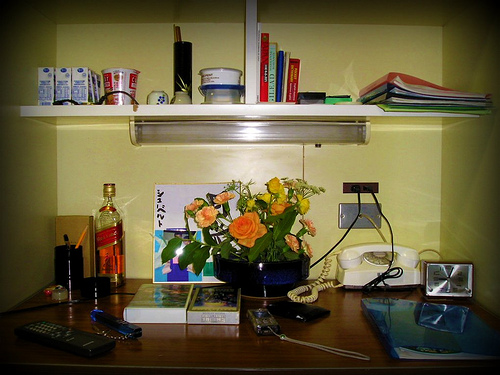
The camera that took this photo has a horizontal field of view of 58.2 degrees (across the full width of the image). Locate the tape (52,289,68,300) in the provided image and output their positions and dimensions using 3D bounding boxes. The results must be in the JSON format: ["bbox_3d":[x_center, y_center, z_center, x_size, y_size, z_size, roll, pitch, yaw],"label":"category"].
[{"bbox_3d":[-0.690,0.388,1.631,0.039,0.022,0.039,4,0,39],"label":"tape"}]

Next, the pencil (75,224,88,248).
[{"bbox_3d":[-0.659,0.186,1.775,0.015,0.113,0.014,22,-36,-9],"label":"pencil"}]

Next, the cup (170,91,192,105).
[{"bbox_3d":[-0.252,-0.335,1.675,0.064,0.059,0.064,2,11,0],"label":"cup"}]

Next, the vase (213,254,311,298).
[{"bbox_3d":[0.055,0.329,1.731,0.351,0.129,0.354,6,1,39],"label":"vase"}]

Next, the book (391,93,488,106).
[{"bbox_3d":[0.657,-0.306,1.561,0.334,0.046,0.034,-1,9,-2],"label":"book"}]

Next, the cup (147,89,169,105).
[{"bbox_3d":[-0.342,-0.333,1.684,0.065,0.060,0.063,0,8,0],"label":"cup"}]

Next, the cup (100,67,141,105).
[{"bbox_3d":[-0.479,-0.389,1.737,0.139,0.129,0.138,2,7,0],"label":"cup"}]

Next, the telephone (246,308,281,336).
[{"bbox_3d":[0.043,0.436,1.465,0.077,0.042,0.147,2,7,-16],"label":"telephone"}]

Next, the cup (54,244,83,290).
[{"bbox_3d":[-0.700,0.305,1.745,0.103,0.162,0.099,0,9,0],"label":"cup"}]

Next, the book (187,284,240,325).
[{"bbox_3d":[-0.116,0.408,1.571,0.192,0.047,0.262,0,6,-5],"label":"book"}]

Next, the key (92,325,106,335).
[{"bbox_3d":[-0.481,0.450,1.424,0.024,0.006,0.023,20,3,0],"label":"key"}]

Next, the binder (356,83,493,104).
[{"bbox_3d":[0.619,-0.339,1.609,0.449,0.066,0.159,2,9,12],"label":"binder"}]

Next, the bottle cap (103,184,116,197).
[{"bbox_3d":[-0.554,0.010,1.775,0.046,0.042,0.045,1,8,-6],"label":"bottle cap"}]

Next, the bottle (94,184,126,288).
[{"bbox_3d":[-0.543,0.191,1.842,0.133,0.408,0.121,0,-3,0],"label":"bottle"}]

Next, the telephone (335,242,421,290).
[{"bbox_3d":[0.506,0.298,1.774,0.315,0.153,0.183,-1,17,7],"label":"telephone"}]

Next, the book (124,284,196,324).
[{"bbox_3d":[-0.311,0.414,1.608,0.209,0.056,0.294,2,1,-2],"label":"book"}]

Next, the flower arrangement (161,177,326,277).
[{"bbox_3d":[-0.008,0.135,1.731,0.578,0.373,0.421,1,9,9],"label":"flower arrangement"}]

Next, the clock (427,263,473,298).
[{"bbox_3d":[0.762,0.353,1.681,0.169,0.137,0.100,-10,-30,44],"label":"clock"}]

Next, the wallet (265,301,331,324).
[{"bbox_3d":[0.160,0.422,1.513,0.147,0.025,0.183,-5,8,-40],"label":"wallet"}]

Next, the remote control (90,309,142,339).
[{"bbox_3d":[-0.438,0.433,1.439,0.210,0.046,0.053,10,4,30],"label":"remote control"}]
